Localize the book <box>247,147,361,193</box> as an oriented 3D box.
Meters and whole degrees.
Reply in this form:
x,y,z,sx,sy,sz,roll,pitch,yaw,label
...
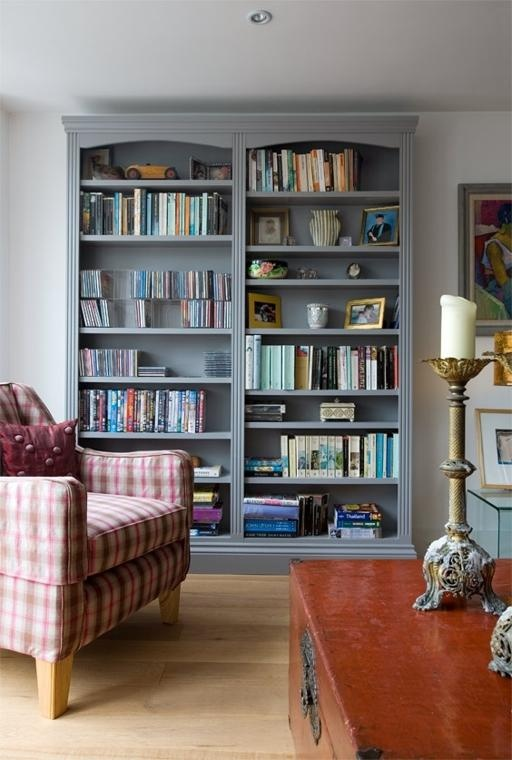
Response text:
x,y,z,sx,sy,sz,roll,pitch,yaw,label
0.226,-1.024,3.308,0.532,0.204,0.028,0,2,0,book

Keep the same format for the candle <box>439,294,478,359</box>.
x,y,z,sx,sy,sz,roll,pitch,yaw,label
0.391,-0.103,1.321,0.062,0.125,0.064,1,2,15,candle

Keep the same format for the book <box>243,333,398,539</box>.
x,y,z,sx,sy,sz,roll,pitch,yaw,label
0.323,0.286,3.344,1.011,0.892,0.323,0,-4,-1,book

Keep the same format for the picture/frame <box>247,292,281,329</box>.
x,y,z,sx,sy,sz,roll,pitch,yaw,label
0.035,-0.343,3.387,0.188,0.172,0.013,9,-19,-42,picture/frame

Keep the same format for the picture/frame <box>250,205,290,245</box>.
x,y,z,sx,sy,sz,roll,pitch,yaw,label
0.067,-0.782,3.436,0.226,0.230,0.018,-1,-6,2,picture/frame

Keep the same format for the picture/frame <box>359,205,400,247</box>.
x,y,z,sx,sy,sz,roll,pitch,yaw,label
0.613,-0.755,3.341,0.239,0.232,0.024,-1,-11,18,picture/frame

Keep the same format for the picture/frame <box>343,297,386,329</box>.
x,y,z,sx,sy,sz,roll,pitch,yaw,label
0.545,-0.335,3.398,0.172,0.145,0.013,-8,-24,32,picture/frame

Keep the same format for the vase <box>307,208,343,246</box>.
x,y,z,sx,sy,sz,roll,pitch,yaw,label
0.320,-0.756,3.412,0.175,0.203,0.177,-1,-8,3,vase

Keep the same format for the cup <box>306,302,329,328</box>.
x,y,z,sx,sy,sz,roll,pitch,yaw,label
0.302,-0.319,3.347,0.118,0.121,0.114,1,-5,0,cup

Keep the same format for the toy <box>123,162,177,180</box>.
x,y,z,sx,sy,sz,roll,pitch,yaw,label
-0.522,-1.030,3.370,0.215,0.074,0.107,-1,17,-4,toy
